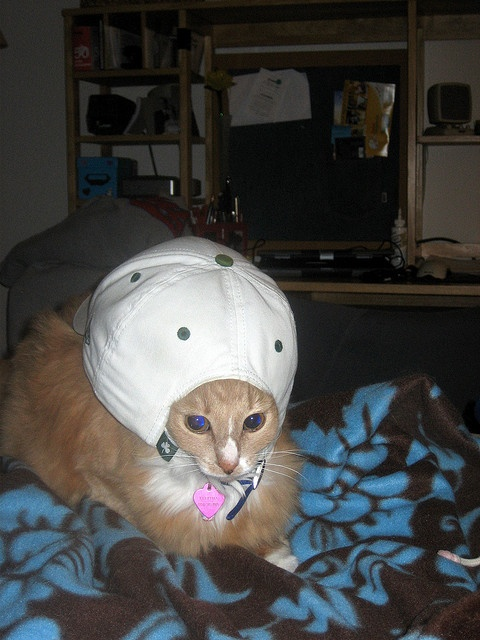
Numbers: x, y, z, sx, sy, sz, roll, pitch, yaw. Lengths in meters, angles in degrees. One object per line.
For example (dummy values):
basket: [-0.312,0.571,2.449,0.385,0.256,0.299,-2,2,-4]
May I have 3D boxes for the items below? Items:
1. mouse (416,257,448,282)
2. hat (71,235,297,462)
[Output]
mouse: [0.555,-0.150,1.706,0.062,0.034,0.104,6,16,14]
hat: [-0.054,0.038,0.663,0.236,0.237,0.202,-2,15,-17]
